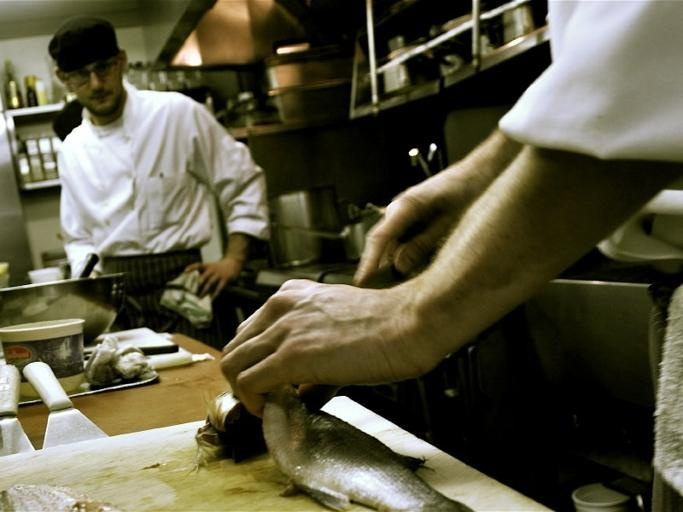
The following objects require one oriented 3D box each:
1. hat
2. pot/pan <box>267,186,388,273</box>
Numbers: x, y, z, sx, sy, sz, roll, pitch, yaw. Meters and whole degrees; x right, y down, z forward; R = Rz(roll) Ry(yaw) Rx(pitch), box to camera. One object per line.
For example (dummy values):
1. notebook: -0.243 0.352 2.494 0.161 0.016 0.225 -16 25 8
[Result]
1. hat: -0.966 -0.797 2.485 0.224 0.138 0.222 -7 31 24
2. pot/pan: -0.055 -0.129 2.867 0.519 0.319 0.299 -3 7 20
